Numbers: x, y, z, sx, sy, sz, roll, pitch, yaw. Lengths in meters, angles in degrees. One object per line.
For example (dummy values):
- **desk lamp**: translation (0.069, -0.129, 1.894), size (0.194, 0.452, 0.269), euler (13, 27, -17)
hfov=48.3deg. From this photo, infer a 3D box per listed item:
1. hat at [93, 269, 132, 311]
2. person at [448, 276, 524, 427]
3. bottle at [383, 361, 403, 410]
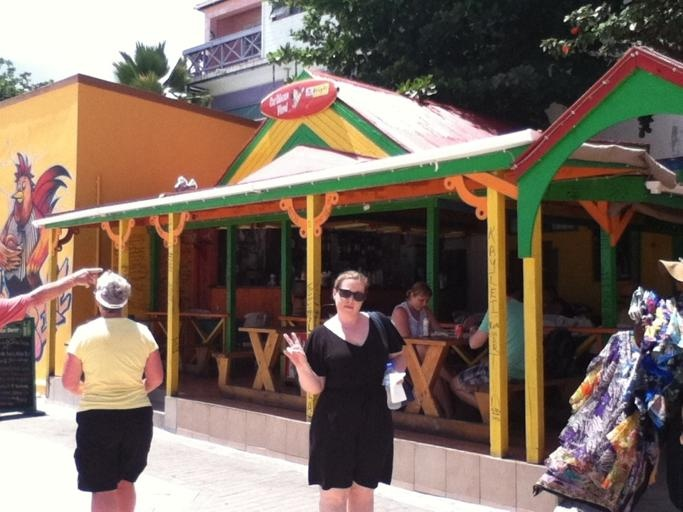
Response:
- **hat**: translation (-2.100, 0.303, 7.014), size (0.264, 0.323, 0.362), euler (11, 3, -28)
- **person**: translation (1.819, 1.118, 9.316), size (0.916, 1.896, 0.738), euler (-1, 6, 34)
- **bottle**: translation (0.456, 1.132, 6.601), size (0.183, 0.328, 0.072), euler (-4, -13, -11)
